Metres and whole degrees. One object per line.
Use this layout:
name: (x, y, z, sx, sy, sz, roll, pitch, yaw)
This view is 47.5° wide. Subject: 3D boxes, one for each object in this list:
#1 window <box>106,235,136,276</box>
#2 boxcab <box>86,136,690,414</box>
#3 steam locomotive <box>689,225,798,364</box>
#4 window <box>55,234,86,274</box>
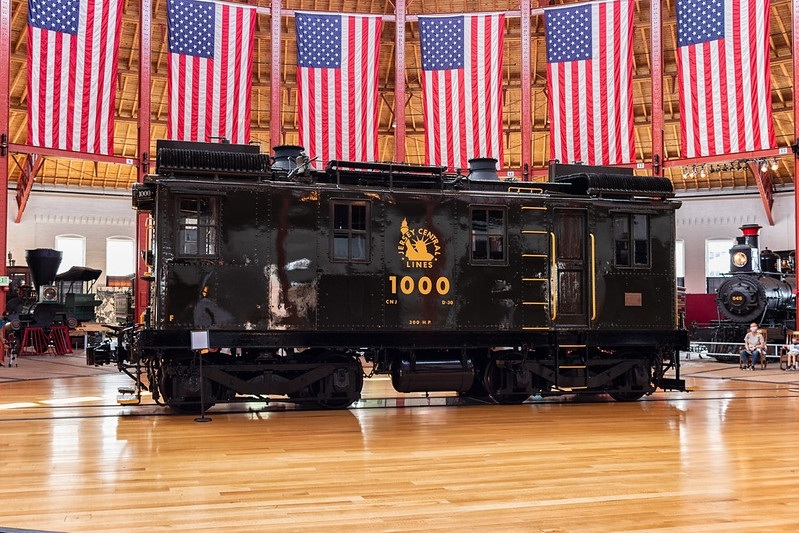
window: (-14.382, -0.564, 46.015, 0.296, 2.798, 2.037, 0, 1, 44)
boxcab: (0.665, -0.091, 23.588, 14.489, 6.949, 4.134, 1, 10, -9)
steam locomotive: (13.720, 1.429, 35.561, 2.508, 4.230, 7.151, -2, -4, 34)
window: (-16.012, -0.587, 43.526, 1.888, 2.628, 0.249, 0, -4, -18)
